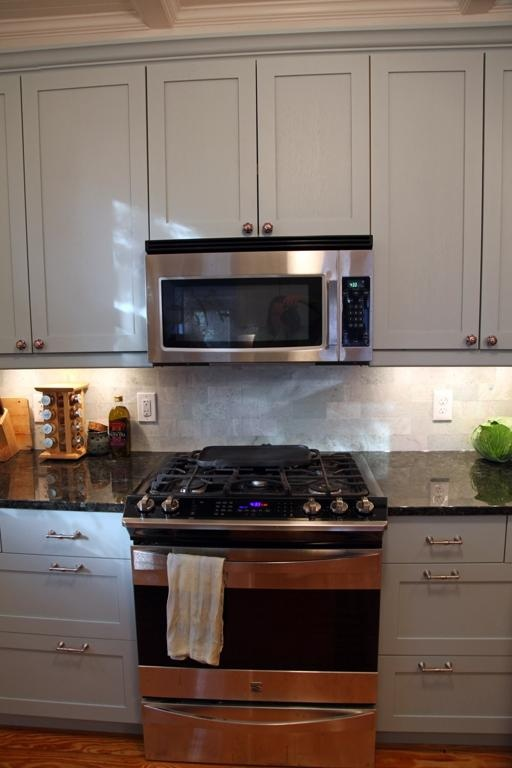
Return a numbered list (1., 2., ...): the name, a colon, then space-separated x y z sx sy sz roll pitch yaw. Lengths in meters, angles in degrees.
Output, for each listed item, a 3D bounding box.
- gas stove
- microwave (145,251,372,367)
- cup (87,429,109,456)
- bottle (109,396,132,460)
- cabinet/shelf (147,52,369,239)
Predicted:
1. gas stove: -0.002 0.308 1.956 0.748 0.084 0.495 -2 9 2
2. microwave: 0.013 -0.205 2.079 0.720 0.443 0.300 -1 -10 0
3. cup: -0.592 0.221 2.434 0.085 0.096 0.087 0 -3 0
4. bottle: -0.514 0.171 2.386 0.076 0.206 0.061 -5 9 -17
5. cabinet/shelf: 0.018 -0.740 2.137 0.708 0.552 0.261 0 13 7
